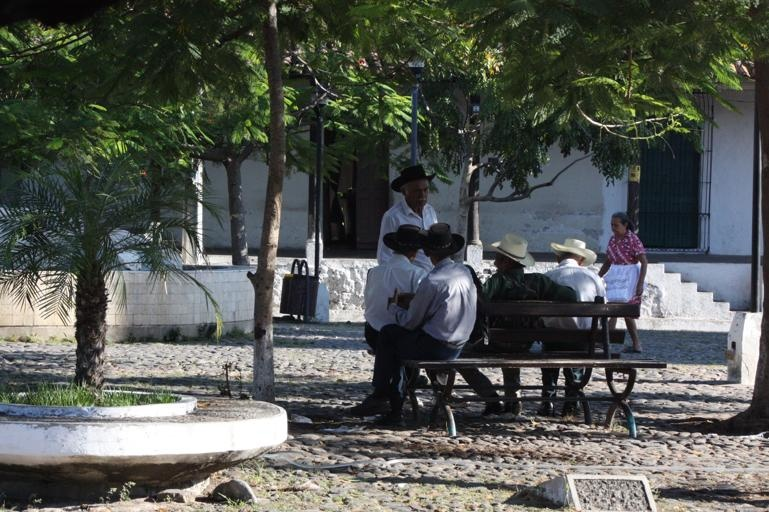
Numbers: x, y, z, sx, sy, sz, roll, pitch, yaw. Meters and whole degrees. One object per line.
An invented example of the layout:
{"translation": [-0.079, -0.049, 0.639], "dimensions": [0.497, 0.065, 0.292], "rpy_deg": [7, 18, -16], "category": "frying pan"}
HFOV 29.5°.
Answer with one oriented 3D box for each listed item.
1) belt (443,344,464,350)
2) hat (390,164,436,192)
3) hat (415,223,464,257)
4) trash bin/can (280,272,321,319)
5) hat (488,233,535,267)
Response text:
{"translation": [0.810, 1.014, 16.358], "dimensions": [0.112, 0.075, 0.294], "rpy_deg": [0, -3, 31], "category": "belt"}
{"translation": [0.410, -0.959, 17.125], "dimensions": [0.395, 0.144, 0.352], "rpy_deg": [-15, -9, -26], "category": "hat"}
{"translation": [0.610, -0.186, 16.416], "dimensions": [0.363, 0.169, 0.413], "rpy_deg": [-29, 40, -35], "category": "hat"}
{"translation": [-1.445, 0.676, 24.438], "dimensions": [0.650, 0.791, 0.678], "rpy_deg": [7, 1, 19], "category": "trash bin/can"}
{"translation": [1.477, -0.027, 17.123], "dimensions": [0.434, 0.174, 0.379], "rpy_deg": [38, 28, 18], "category": "hat"}
